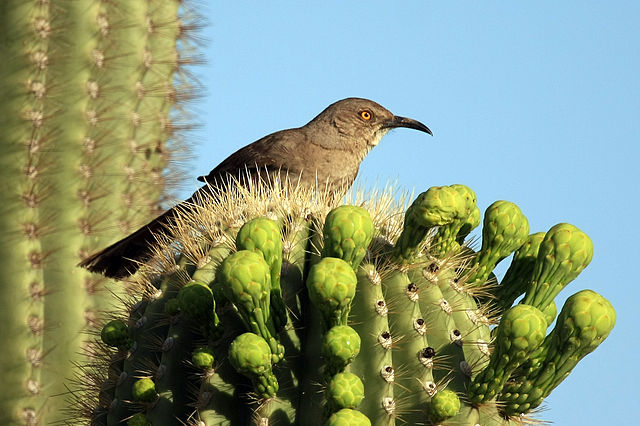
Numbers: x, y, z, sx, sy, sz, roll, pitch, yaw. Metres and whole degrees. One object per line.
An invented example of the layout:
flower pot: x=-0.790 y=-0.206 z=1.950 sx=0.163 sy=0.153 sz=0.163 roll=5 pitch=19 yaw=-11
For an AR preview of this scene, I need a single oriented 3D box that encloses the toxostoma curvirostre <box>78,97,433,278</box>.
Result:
toxostoma curvirostre: x=-0.494 y=-0.181 z=8.137 sx=2.688 sy=1.268 sz=0.839 roll=-4 pitch=-15 yaw=14
